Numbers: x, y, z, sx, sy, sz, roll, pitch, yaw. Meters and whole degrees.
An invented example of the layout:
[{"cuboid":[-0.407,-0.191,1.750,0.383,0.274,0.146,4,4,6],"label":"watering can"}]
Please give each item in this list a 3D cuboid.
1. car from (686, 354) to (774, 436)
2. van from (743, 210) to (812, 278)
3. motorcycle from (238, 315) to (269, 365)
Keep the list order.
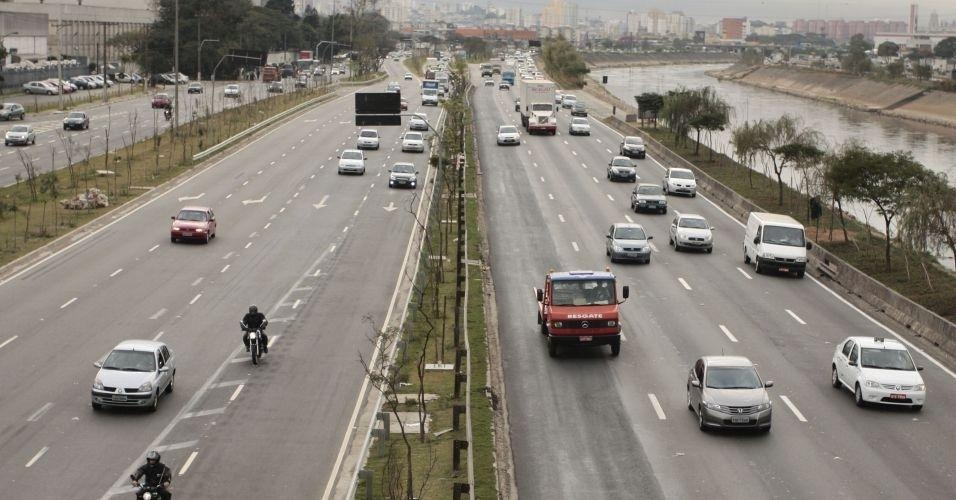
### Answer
[{"cuboid":[13.782,7.625,54.591,3.738,3.221,7.506,0,7,5],"label":"car"},{"cuboid":[22.518,-0.364,74.328,3.887,3.746,7.411,6,7,4],"label":"van"},{"cuboid":[-13.226,4.993,58.020,1.087,3.012,1.738,4,21,11],"label":"motorcycle"}]
